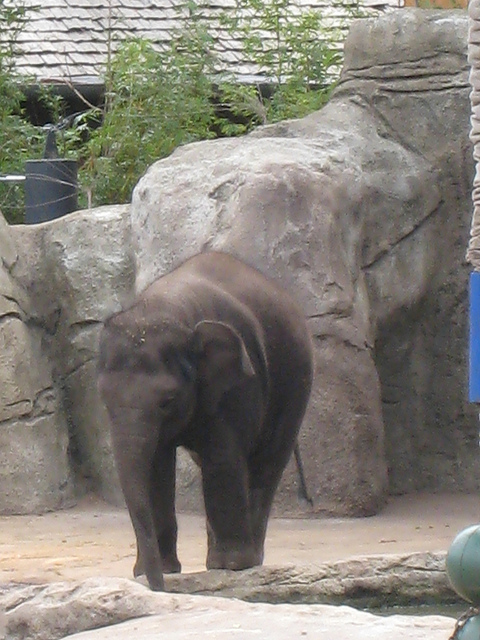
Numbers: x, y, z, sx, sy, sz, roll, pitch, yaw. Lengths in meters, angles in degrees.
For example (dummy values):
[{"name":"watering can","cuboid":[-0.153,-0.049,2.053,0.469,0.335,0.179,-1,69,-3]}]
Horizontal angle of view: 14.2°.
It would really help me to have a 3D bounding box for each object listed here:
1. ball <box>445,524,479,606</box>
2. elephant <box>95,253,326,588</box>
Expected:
[{"name":"ball","cuboid":[0.746,0.821,6.362,0.139,0.253,0.179,0,1,-3]},{"name":"elephant","cuboid":[-0.279,0.438,7.819,0.806,1.787,1.001,-2,-7,43]}]
